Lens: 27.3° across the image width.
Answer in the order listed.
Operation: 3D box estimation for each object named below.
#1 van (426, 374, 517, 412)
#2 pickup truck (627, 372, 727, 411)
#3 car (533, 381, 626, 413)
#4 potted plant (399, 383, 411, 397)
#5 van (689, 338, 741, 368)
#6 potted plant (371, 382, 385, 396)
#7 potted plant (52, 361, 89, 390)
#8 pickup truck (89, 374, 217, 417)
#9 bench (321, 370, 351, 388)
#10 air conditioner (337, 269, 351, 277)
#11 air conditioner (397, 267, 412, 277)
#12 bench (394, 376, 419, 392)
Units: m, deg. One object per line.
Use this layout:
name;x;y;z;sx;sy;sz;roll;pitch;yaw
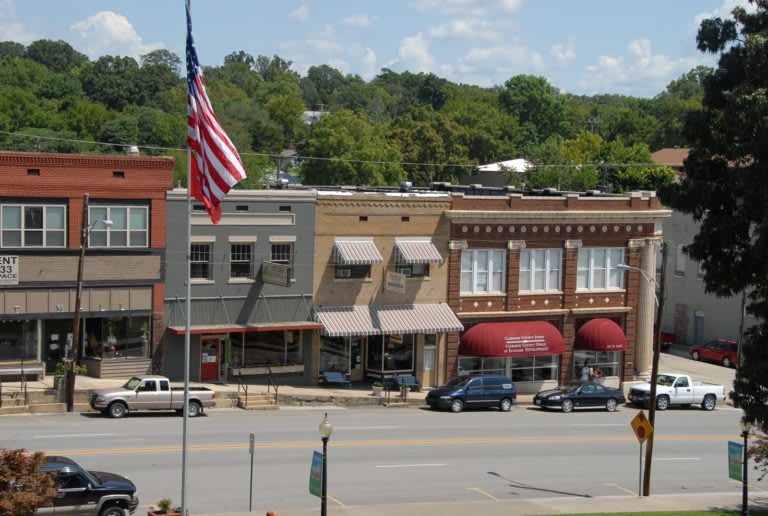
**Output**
van;6.227;9.552;111.352;5.398;2.070;2.611;3;-4;-23
pickup truck;21.700;9.910;117.015;7.056;2.508;3.620;2;1;-25
car;14.077;10.349;112.600;8.361;2.573;3.899;0;1;28
potted plant;1.635;9.339;111.456;0.948;0.792;0.786;1;-2;-1
van;27.860;7.837;131.213;1.657;1.375;3.877;2;4;-37
potted plant;-0.341;9.266;111.146;0.880;0.861;0.870;-1;-2;20
potted plant;-20.868;7.721;103.949;2.143;1.334;1.915;2;-3;-11
pickup truck;-15.201;9.102;104.584;7.879;2.234;2.806;1;6;-28
bench;-3.258;8.640;111.927;1.903;0.996;0.847;2;-5;-27
air conditioner;-2.748;1.087;112.264;1.082;0.721;0.568;1;2;-8
air conditioner;1.691;1.061;113.577;0.805;0.755;0.478;-2;0;-9
bench;1.790;8.861;112.592;1.727;1.130;1.027;2;0;-27
